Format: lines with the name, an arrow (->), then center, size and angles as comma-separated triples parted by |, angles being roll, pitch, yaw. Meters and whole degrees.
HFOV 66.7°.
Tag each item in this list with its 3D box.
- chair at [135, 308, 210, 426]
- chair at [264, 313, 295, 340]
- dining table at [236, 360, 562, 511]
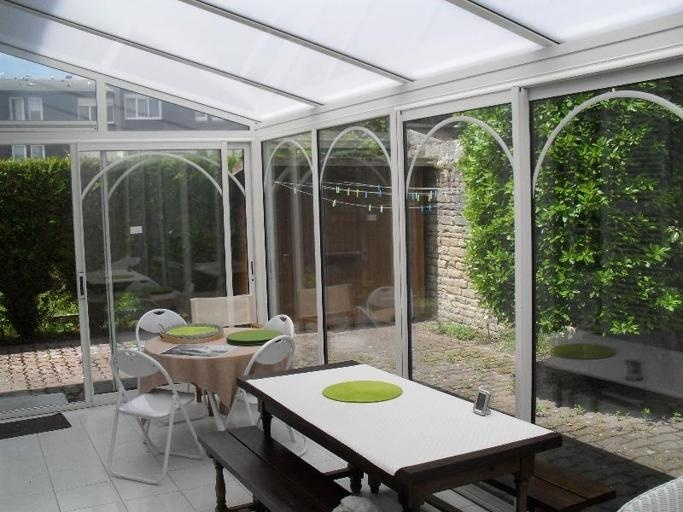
chair -> -1.851, 0.984, 5.368 | 0.665, 0.755, 0.676 | 2, 6, 2
chair -> -0.574, 0.691, 5.120 | 0.310, 0.318, 0.267 | 1, -1, 30
dining table -> 0.264, 1.040, 2.967 | 0.947, 0.380, 1.547 | -6, 7, -32
